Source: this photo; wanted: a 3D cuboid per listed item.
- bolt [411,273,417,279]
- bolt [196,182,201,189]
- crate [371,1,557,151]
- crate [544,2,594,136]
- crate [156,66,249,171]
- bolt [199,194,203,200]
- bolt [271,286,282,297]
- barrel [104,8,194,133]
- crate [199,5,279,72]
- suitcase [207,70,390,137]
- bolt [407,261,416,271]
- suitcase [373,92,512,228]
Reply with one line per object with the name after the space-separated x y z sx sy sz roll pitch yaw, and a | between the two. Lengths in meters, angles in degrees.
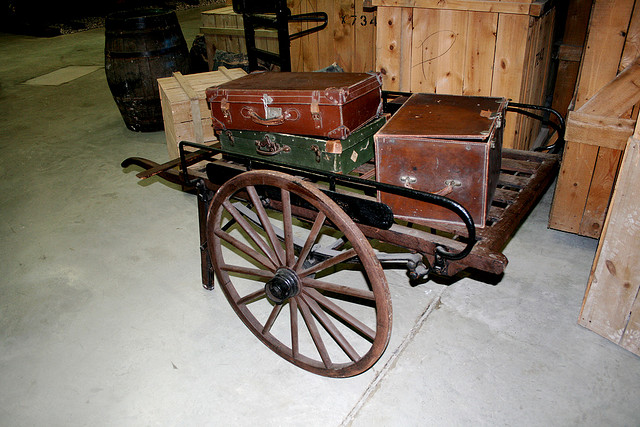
0.594 0.396 2.818 0.036 0.039 0.019 4 30 8 | bolt
-0.920 -0.214 3.394 0.029 0.038 0.012 -6 3 21 | bolt
1.575 -1.391 5.182 1.690 1.670 1.743 13 21 27 | crate
2.989 -1.682 5.584 0.316 1.716 1.197 11 31 19 | crate
-1.355 -1.095 5.393 1.234 1.200 1.224 -13 29 -17 | crate
-0.915 -0.129 3.446 0.035 0.033 0.024 2 -13 1 | bolt
-0.290 0.524 2.980 0.077 0.073 0.023 20 36 31 | bolt
-2.361 -2.234 6.636 1.300 1.925 1.159 10 29 25 | barrel
-1.469 -3.018 7.508 0.955 1.312 1.970 -18 33 -31 | crate
-0.163 -0.872 3.491 1.271 0.438 0.652 13 32 21 | suitcase
0.589 0.334 2.860 0.042 0.017 0.057 -6 28 -26 | bolt
0.882 -0.438 3.177 0.719 0.597 0.968 6 29 22 | suitcase
